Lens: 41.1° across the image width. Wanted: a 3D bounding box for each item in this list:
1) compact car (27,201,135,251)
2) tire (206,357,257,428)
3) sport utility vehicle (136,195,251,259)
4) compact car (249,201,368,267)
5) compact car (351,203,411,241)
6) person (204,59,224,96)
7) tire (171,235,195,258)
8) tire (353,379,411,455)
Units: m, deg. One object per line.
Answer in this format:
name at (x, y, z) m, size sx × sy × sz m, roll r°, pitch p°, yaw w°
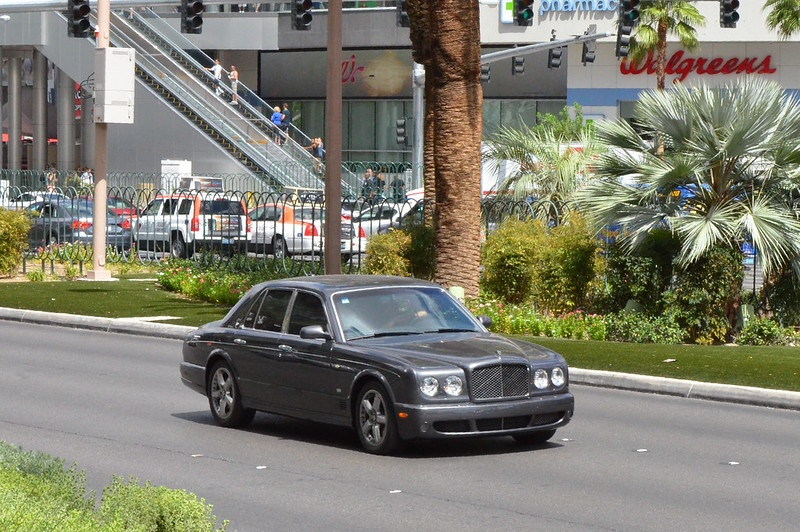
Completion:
compact car at (-11.031, -1.445, 36.233) m, size 4.010 × 1.664 × 2.031 m, roll 5°, pitch 8°, yaw 31°
tire at (-2.363, 1.775, 14.708) m, size 0.283 × 1.001 × 0.821 m, roll -3°, pitch 4°, yaw -39°
sport utility vehicle at (-6.889, -1.319, 34.515) m, size 1.504 × 2.609 × 8.630 m, roll -3°, pitch 8°, yaw -29°
compact car at (-3.131, -1.189, 32.795) m, size 3.153 × 1.998 × 9.094 m, roll 0°, pitch 8°, yaw -8°
compact car at (-0.687, -1.346, 30.855) m, size 2.201 × 0.935 × 0.966 m, roll 3°, pitch 6°, yaw 38°
person at (-8.707, -8.907, 50.155) m, size 0.520 × 1.549 × 0.950 m, roll -2°, pitch 7°, yaw -27°
tire at (-7.333, -0.668, 35.762) m, size 0.242 × 0.780 × 0.641 m, roll 1°, pitch -2°, yaw -35°
tire at (-0.283, 1.859, 13.119) m, size 0.693 × 0.912 × 0.215 m, roll 5°, pitch 7°, yaw 35°
